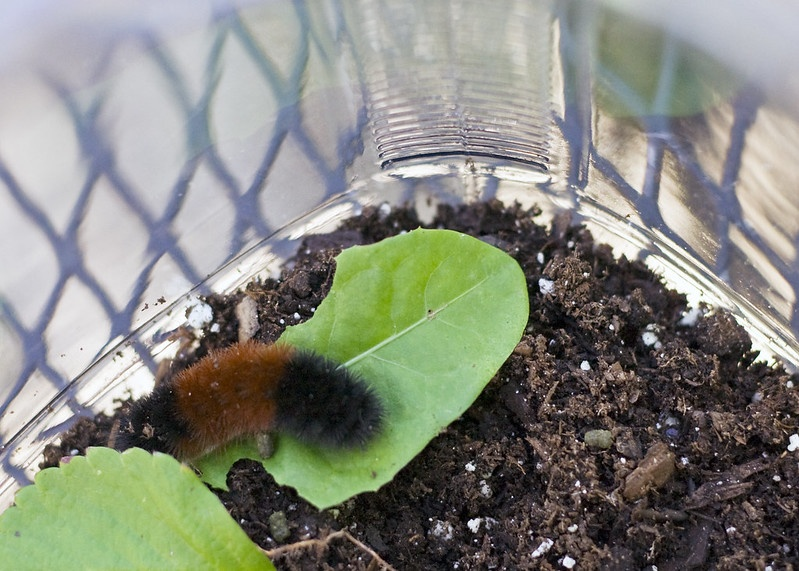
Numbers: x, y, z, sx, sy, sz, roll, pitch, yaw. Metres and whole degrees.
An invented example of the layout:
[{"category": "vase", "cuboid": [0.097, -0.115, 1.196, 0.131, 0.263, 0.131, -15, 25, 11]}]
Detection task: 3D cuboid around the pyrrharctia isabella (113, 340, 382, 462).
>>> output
[{"category": "pyrrharctia isabella", "cuboid": [-0.804, 0.617, 4.427, 1.010, 1.175, 0.603, -14, 101, -10]}]
